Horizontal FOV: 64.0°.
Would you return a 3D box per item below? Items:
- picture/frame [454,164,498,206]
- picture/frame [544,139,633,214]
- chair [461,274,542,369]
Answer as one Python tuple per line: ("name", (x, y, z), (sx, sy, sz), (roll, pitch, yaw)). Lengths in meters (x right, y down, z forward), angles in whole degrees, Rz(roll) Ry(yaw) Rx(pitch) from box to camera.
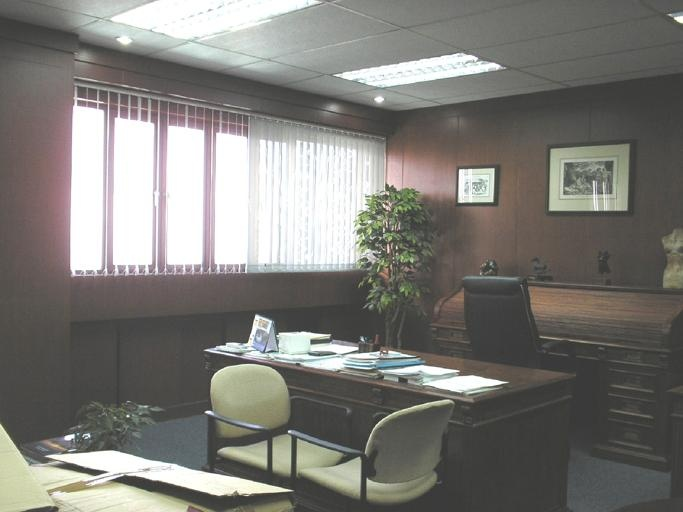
("picture/frame", (1.623, -0.837, 6.476), (0.510, 0.491, 0.038), (2, 2, 38))
("picture/frame", (2.617, -0.824, 5.691), (0.806, 0.780, 0.063), (2, -1, 42))
("chair", (1.562, 0.563, 4.707), (0.583, 0.836, 0.752), (0, -2, 35))
